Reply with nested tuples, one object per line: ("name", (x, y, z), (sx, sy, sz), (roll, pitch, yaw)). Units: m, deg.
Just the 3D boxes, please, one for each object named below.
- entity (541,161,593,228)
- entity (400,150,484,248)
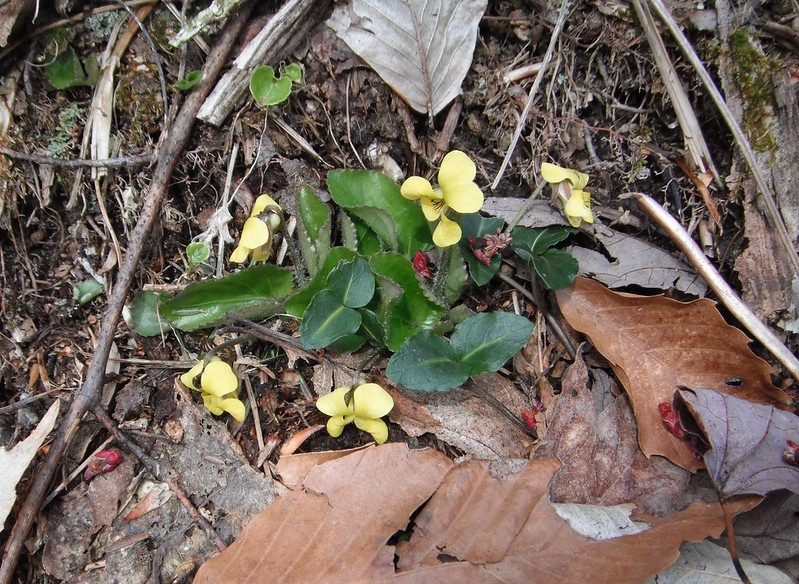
("entity", (0.782, -0.446, 3.226), (0.214, 0.318, 0.129), (-37, 11, -16))
("entity", (0.131, -0.426, 3.062), (0.366, 0.199, 0.402), (26, 9, 18))
